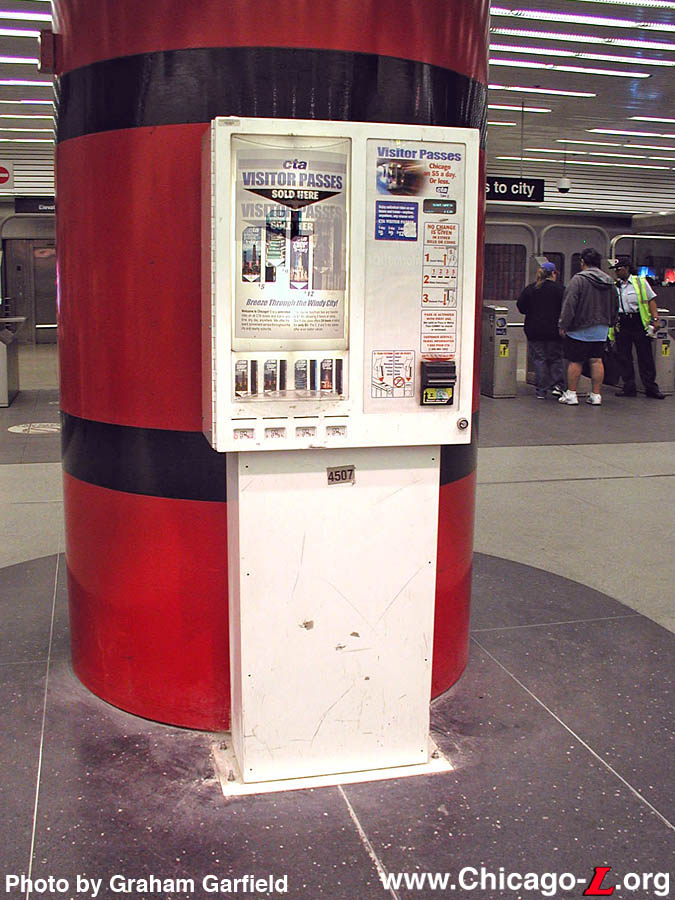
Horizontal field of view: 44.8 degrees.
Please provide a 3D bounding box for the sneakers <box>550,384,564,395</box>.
[{"bbox_3d":[3.153,-0.862,11.685,0.143,0.142,0.240,0,-7,13],"label":"sneakers"}]

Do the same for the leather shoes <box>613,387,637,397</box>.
[{"bbox_3d":[4.243,-0.846,11.993,0.120,0.173,0.380,3,2,40],"label":"leather shoes"}]

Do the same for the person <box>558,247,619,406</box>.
[{"bbox_3d":[3.248,-1.573,10.694,0.700,1.990,0.834,4,8,27],"label":"person"}]

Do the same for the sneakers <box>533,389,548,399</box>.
[{"bbox_3d":[2.944,-0.812,11.842,0.113,0.197,0.197,0,4,1],"label":"sneakers"}]

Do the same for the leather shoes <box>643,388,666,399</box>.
[{"bbox_3d":[4.566,-0.807,11.786,0.294,0.219,0.103,2,9,19],"label":"leather shoes"}]

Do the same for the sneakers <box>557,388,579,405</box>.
[{"bbox_3d":[3.117,-0.716,11.030,0.126,0.168,0.355,2,16,2],"label":"sneakers"}]

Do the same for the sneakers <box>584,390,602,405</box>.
[{"bbox_3d":[3.466,-0.703,11.013,0.130,0.149,0.340,1,12,3],"label":"sneakers"}]
